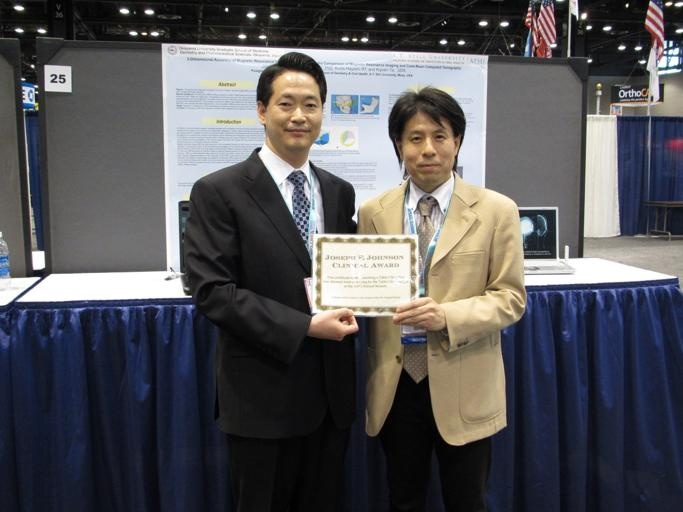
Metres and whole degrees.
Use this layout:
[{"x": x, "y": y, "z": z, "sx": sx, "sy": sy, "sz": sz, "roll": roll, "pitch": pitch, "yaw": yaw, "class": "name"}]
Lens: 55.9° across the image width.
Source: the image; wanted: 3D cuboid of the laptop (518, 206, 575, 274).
[{"x": 1.212, "y": -0.099, "z": 4.023, "sx": 0.436, "sy": 0.498, "sz": 0.377, "roll": -1, "pitch": 3, "yaw": -1, "class": "laptop"}]
